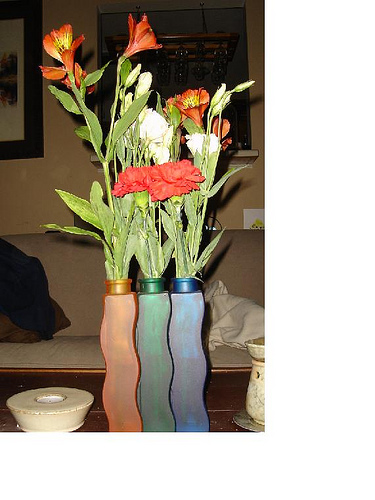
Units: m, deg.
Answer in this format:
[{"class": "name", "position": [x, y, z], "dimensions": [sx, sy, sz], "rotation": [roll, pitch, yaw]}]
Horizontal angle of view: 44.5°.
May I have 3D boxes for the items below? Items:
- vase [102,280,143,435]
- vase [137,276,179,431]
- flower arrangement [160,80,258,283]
[{"class": "vase", "position": [-0.080, 0.136, 0.551], "dimensions": [0.044, 0.163, 0.037], "rotation": [-2, 9, -6]}, {"class": "vase", "position": [-0.039, 0.137, 0.563], "dimensions": [0.047, 0.163, 0.043], "rotation": [-2, 9, -5]}, {"class": "flower arrangement", "position": [0.028, -0.104, 0.695], "dimensions": [0.142, 0.333, 0.305], "rotation": [0, 9, 8]}]
